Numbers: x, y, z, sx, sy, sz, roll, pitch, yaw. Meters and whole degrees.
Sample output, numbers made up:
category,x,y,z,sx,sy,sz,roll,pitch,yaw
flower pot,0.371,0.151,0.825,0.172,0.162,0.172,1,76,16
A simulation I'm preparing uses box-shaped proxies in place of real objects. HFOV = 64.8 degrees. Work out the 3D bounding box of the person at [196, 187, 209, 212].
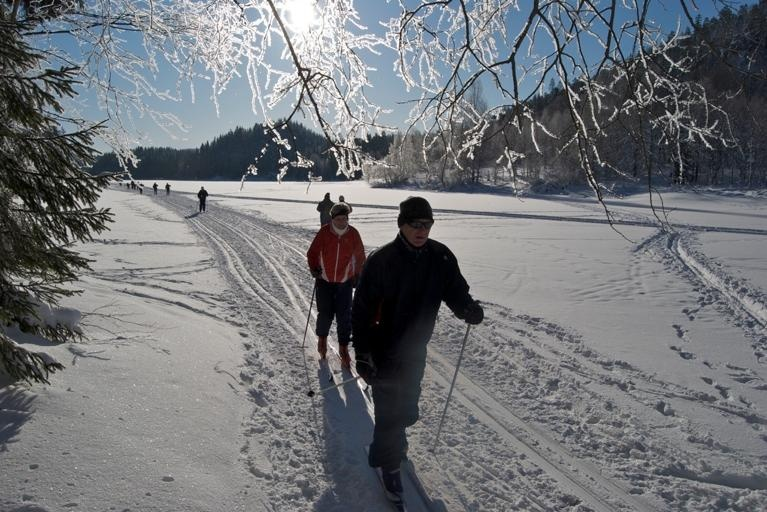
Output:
category,x,y,z,sx,sy,sz,roll,pitch,yaw
person,-8.207,-2.566,27.323,0.319,1.139,1.226,-3,11,-18

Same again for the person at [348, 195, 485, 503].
category,x,y,z,sx,sy,sz,roll,pitch,yaw
person,0.303,1.105,7.481,1.336,3.610,0.557,-5,11,-24

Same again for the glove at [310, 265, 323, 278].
category,x,y,z,sx,sy,sz,roll,pitch,yaw
glove,-1.037,0.250,9.325,0.203,0.232,0.123,0,-1,-3

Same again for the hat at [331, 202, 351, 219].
category,x,y,z,sx,sy,sz,roll,pitch,yaw
hat,-0.668,-0.709,9.288,0.300,0.203,0.224,-1,11,-6

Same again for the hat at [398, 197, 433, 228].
category,x,y,z,sx,sy,sz,roll,pitch,yaw
hat,0.365,-0.540,7.408,0.335,0.326,0.369,1,3,-20
